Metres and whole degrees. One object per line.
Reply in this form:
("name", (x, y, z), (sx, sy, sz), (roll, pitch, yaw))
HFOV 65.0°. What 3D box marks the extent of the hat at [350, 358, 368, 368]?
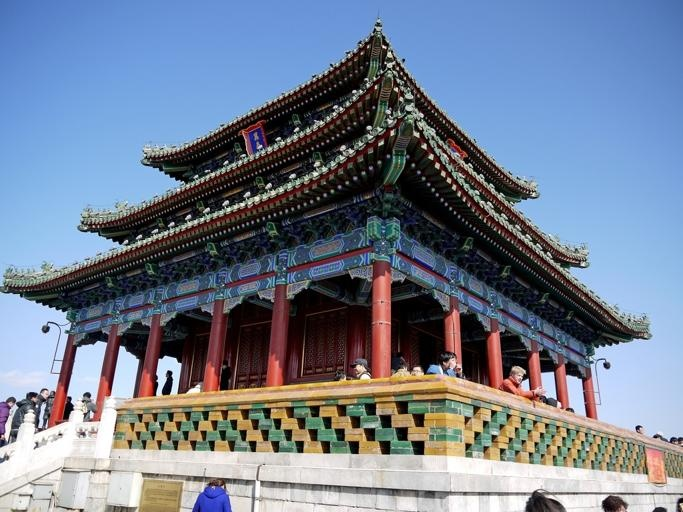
("hat", (0.438, 2.566, 12.918), (0.269, 0.277, 0.427), (-6, -29, 14))
